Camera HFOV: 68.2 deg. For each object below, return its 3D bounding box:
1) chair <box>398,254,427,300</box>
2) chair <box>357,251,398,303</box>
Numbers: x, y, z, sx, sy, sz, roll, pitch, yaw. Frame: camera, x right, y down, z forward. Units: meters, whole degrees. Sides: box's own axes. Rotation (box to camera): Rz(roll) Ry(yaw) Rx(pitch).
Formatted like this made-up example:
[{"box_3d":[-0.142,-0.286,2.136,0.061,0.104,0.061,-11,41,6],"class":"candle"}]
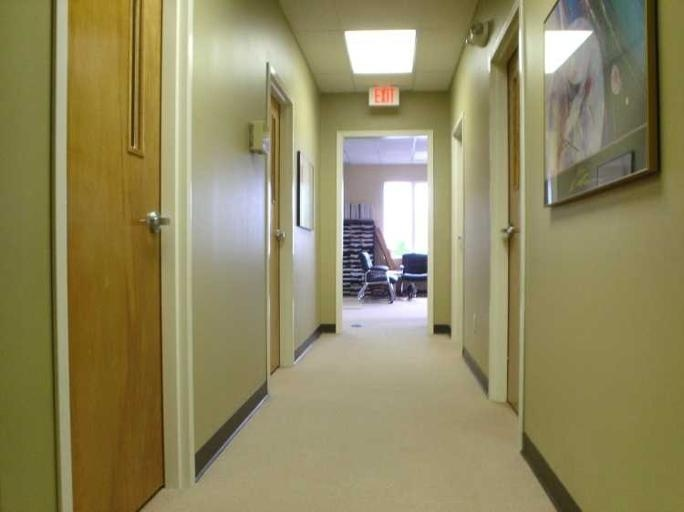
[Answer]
[{"box_3d":[1.428,0.199,9.964,0.594,0.949,0.869,2,23,13],"class":"chair"},{"box_3d":[0.675,0.410,9.596,0.594,0.917,0.633,2,1,11],"class":"chair"}]
